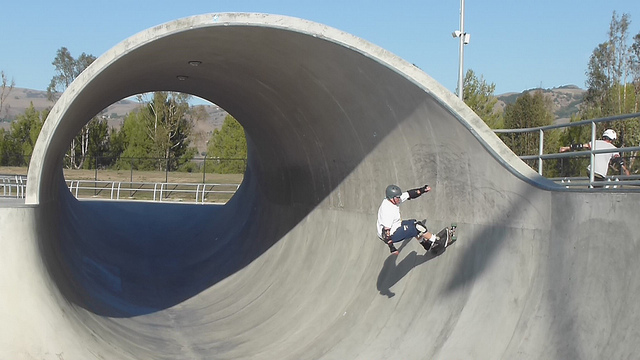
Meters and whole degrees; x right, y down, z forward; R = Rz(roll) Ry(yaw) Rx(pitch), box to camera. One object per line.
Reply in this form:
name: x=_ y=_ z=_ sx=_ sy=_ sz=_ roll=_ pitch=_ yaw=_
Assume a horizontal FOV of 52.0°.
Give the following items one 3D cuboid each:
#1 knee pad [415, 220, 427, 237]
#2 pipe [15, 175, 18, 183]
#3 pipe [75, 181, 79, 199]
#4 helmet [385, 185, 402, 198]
knee pad: x=2.526 y=1.244 z=16.658 sx=0.249 sy=0.424 sz=0.124 roll=-10 pitch=-8 yaw=-3
pipe: x=-13.088 y=-0.071 z=28.295 sx=0.039 sy=0.274 sz=2.051 roll=1 pitch=0 yaw=-26
pipe: x=-12.602 y=0.541 z=33.956 sx=0.073 sy=0.813 sz=1.579 roll=1 pitch=0 yaw=-19
helmet: x=1.874 y=0.296 z=16.796 sx=0.344 sy=0.268 sz=0.296 roll=38 pitch=-27 yaw=24
